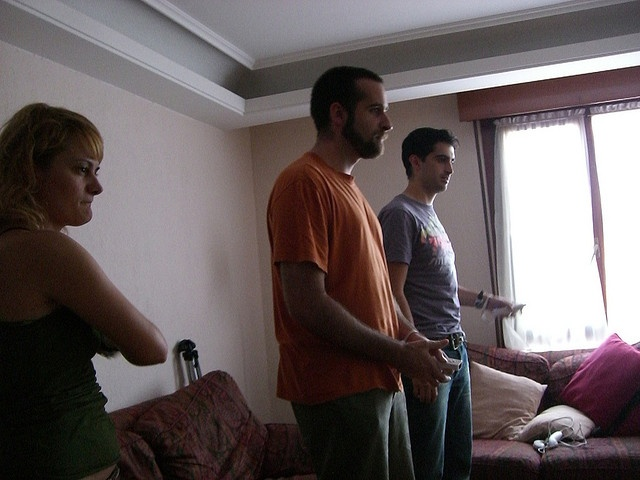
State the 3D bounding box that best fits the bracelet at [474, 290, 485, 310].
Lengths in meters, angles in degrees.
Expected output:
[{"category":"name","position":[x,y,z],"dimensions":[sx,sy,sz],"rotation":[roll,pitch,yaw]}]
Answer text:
[{"category":"bracelet","position":[0.860,0.317,2.583],"dimensions":[0.042,0.095,0.056],"rotation":[6,-14,-37]}]
